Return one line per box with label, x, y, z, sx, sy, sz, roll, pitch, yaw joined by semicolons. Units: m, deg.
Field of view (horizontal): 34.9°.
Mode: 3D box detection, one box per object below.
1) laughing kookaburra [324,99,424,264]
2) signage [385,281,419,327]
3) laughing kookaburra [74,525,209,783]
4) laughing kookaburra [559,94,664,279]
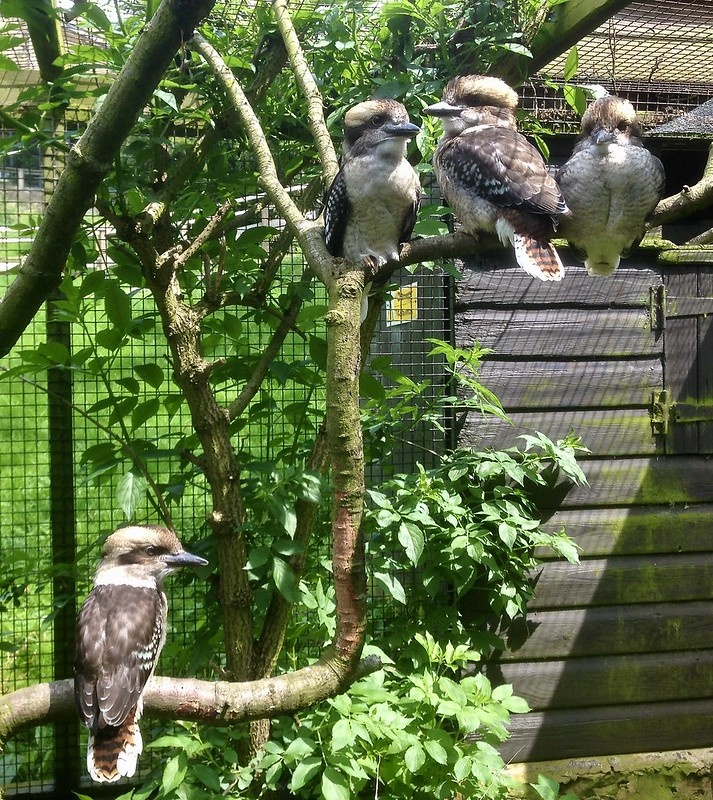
laughing kookaburra;0.062;-0.688;3.548;0.276;0.515;0.407;6;6;1
signage;0.190;-0.400;4.663;0.011;0.120;0.225;5;-3;-18
laughing kookaburra;-0.624;0.707;3.251;0.351;0.624;0.490;4;6;-10
laughing kookaburra;0.801;-0.673;3.633;0.392;0.512;0.631;-2;9;14
